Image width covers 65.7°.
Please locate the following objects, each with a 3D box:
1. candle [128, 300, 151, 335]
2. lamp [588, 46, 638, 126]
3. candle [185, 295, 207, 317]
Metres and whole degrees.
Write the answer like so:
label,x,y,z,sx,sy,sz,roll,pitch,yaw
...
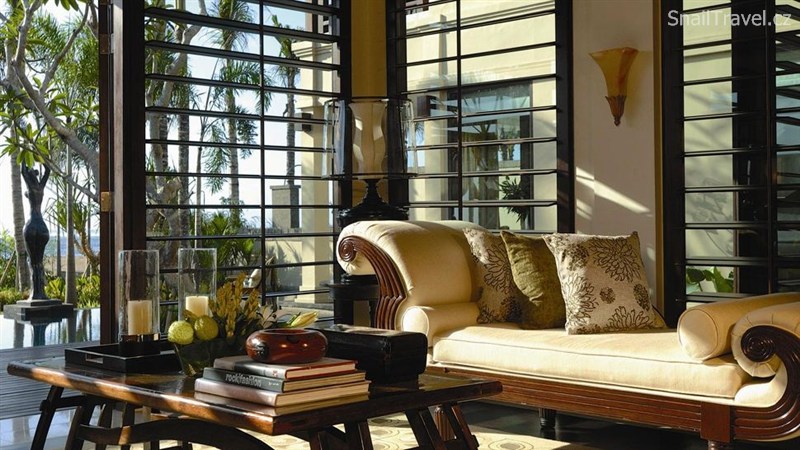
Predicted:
label,x,y,z,sx,sy,sz,roll,pitch,yaw
candle,-1.293,0.460,3.065,0.116,0.163,0.112,-1,-1,-24
lamp,1.646,-1.031,4.654,0.335,0.440,0.154,-4,-3,20
candle,-0.982,0.389,2.948,0.104,0.106,0.101,4,-7,-29
